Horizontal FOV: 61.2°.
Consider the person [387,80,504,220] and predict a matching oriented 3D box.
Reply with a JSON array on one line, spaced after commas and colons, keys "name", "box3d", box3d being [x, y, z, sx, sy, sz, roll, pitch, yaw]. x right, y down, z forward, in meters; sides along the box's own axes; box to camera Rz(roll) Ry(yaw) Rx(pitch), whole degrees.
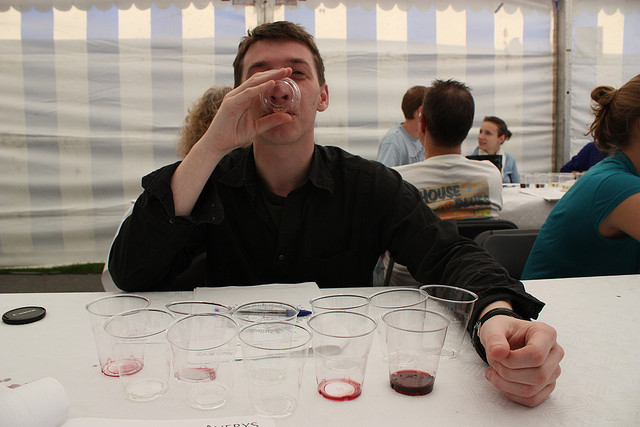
[{"name": "person", "box3d": [0.720, -0.376, 3.394, 1.024, 0.819, 0.514, -3, 6, -25]}]

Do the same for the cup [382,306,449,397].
[{"name": "cup", "box3d": [0.309, 0.468, 1.792, 0.236, 0.234, 0.228, 11, -35, 8]}]

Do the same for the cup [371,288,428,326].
[{"name": "cup", "box3d": [0.266, 0.307, 1.835, 0.137, 0.105, 0.147, -1, -1, 0]}]

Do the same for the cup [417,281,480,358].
[{"name": "cup", "box3d": [0.426, 0.380, 1.956, 0.248, 0.237, 0.242, 6, -9, 1]}]

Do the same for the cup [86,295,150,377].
[{"name": "cup", "box3d": [-0.684, 0.384, 1.813, 0.257, 0.245, 0.248, -3, 2, 0]}]

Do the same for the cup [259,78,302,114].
[{"name": "cup", "box3d": [-0.151, -0.498, 2.284, 0.204, 0.148, 0.134, -6, 13, -19]}]

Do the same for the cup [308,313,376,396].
[{"name": "cup", "box3d": [0.033, 0.449, 1.798, 0.260, 0.246, 0.250, 1, 0, 0]}]

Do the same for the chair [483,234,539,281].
[{"name": "chair", "box3d": [0.971, 0.220, 2.816, 0.373, 0.225, 0.189, 1, -3, -13]}]

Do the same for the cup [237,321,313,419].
[{"name": "cup", "box3d": [-0.131, 0.471, 1.795, 0.296, 0.281, 0.282, 1, 6, 0]}]
